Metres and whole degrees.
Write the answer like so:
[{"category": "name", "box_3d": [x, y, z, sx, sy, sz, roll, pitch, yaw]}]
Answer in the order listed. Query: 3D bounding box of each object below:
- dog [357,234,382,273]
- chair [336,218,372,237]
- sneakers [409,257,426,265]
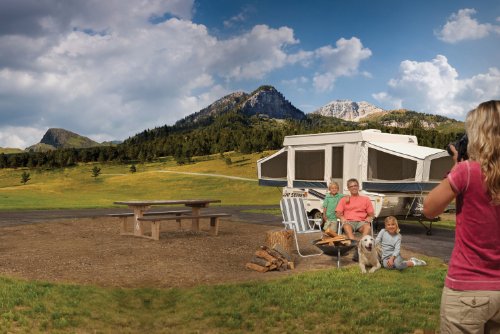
[{"category": "dog", "box_3d": [2.612, 1.868, 10.078, 0.558, 0.795, 0.440, 3, -4, -8]}, {"category": "chair", "box_3d": [2.598, 1.563, 11.518, 0.471, 0.240, 0.575, -1, -23, 1]}, {"category": "sneakers", "box_3d": [3.759, 2.095, 10.391, 0.445, 0.166, 0.157, 11, -8, -23]}]
